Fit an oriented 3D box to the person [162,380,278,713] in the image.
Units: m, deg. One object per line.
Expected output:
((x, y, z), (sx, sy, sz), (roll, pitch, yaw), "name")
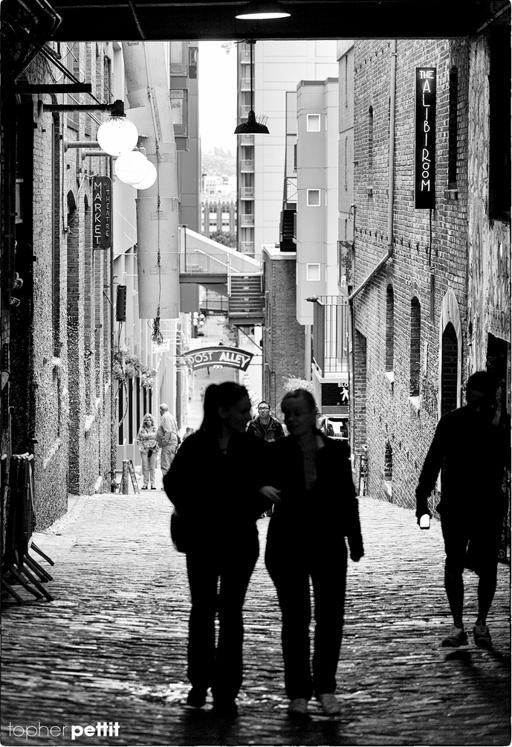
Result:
((-0.162, 0.753, 5.204), (0.498, 1.429, 0.298), (2, 1, 8), "person")

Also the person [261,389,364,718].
((0.233, 0.782, 5.223), (0.426, 0.954, 0.444), (1, 1, -18), "person")

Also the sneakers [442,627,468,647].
((1.074, 1.422, 6.533), (0.060, 0.094, 0.167), (-3, -9, 21), "sneakers")

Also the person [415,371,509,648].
((1.094, 0.730, 6.485), (0.477, 1.138, 0.297), (2, 1, 12), "person")

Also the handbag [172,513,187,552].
((-0.330, 0.692, 5.264), (0.042, 0.155, 0.084), (-2, 2, 44), "handbag")
